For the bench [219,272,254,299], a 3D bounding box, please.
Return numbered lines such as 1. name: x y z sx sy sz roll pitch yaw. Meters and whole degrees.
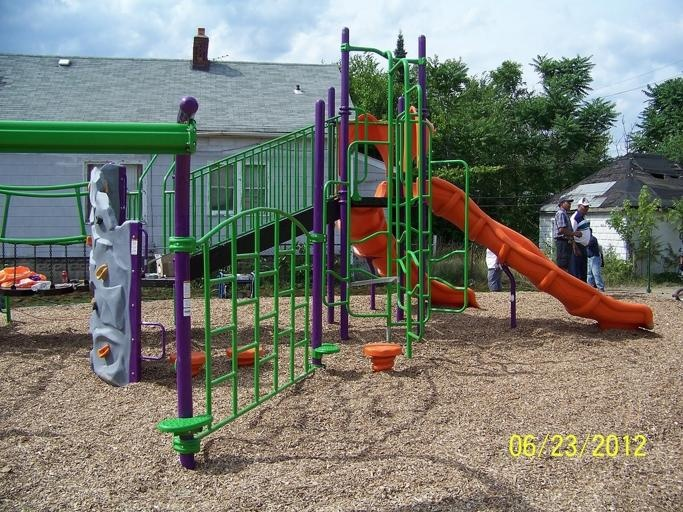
1. bench: -1.796 0.491 14.125 0.844 0.580 0.599 1 -3 -10
